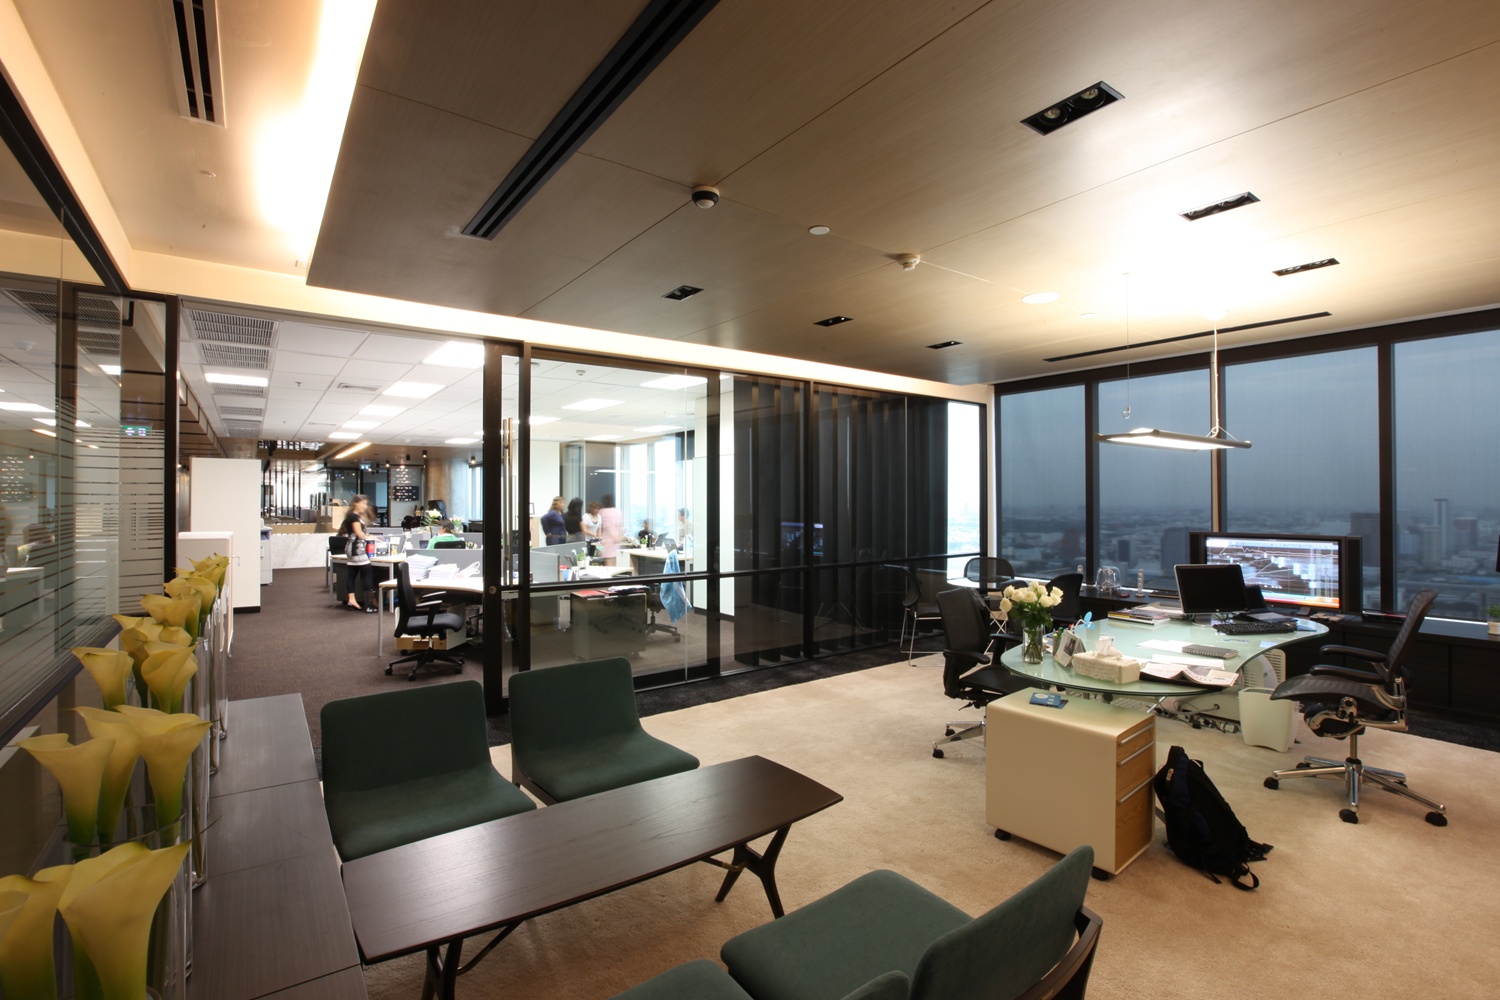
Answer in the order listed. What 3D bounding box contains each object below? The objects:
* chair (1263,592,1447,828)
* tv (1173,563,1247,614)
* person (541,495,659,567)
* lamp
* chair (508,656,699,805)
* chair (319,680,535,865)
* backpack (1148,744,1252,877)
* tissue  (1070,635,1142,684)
[{"bbox_3d":[3.982,1.301,6.138,1.023,1.262,1.060,3,-3,23],"label":"chair"},{"bbox_3d":[3.633,0.691,7.337,0.596,0.412,0.256,-5,15,-17],"label":"tv"},{"bbox_3d":[-1.274,0.238,7.985,1.053,0.631,0.163,-10,17,-34],"label":"person"},{"bbox_3d":[3.562,-0.988,7.746,1.136,1.064,0.406,5,-9,-17],"label":"lamp"},{"bbox_3d":[-1.005,1.351,5.529,0.977,0.564,0.783,1,-4,-32],"label":"chair"},{"bbox_3d":[-1.847,1.424,5.079,1.119,0.721,0.846,2,-4,-25],"label":"chair"},{"bbox_3d":[2.687,1.872,5.547,0.341,0.573,0.605,-26,-13,16],"label":"backpack"},{"bbox_3d":[2.152,0.866,5.604,0.219,0.273,0.396,-5,6,-39],"label":"tissue "}]
